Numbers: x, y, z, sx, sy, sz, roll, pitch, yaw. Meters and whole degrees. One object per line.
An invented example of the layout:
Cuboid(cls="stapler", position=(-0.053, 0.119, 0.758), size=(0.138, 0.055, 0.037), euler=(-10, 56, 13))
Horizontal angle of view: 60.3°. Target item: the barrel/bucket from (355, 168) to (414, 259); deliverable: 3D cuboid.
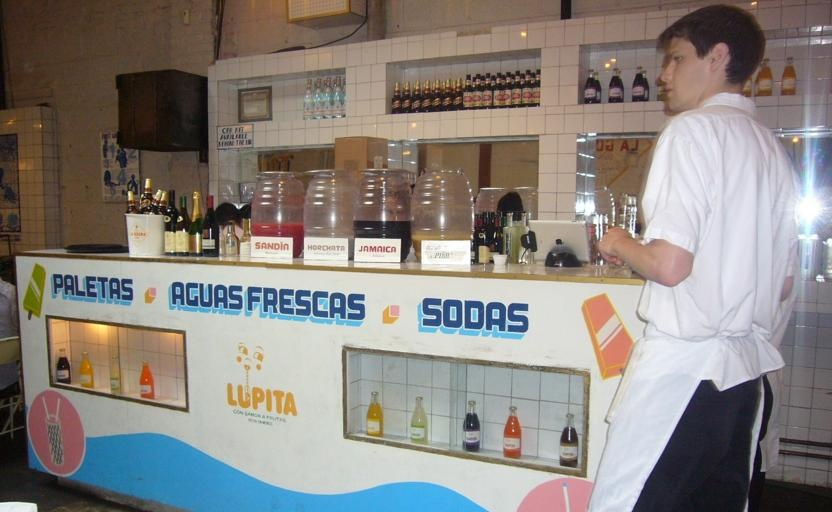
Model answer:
Cuboid(cls="barrel/bucket", position=(-0.230, -0.279, 4.988), size=(0.411, 0.640, 0.349), euler=(-1, 5, -5))

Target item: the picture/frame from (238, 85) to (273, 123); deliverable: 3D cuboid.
Cuboid(cls="picture/frame", position=(-1.812, -1.729, 8.154), size=(0.474, 0.406, 0.047), euler=(3, 5, 24))

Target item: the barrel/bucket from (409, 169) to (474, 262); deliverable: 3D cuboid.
Cuboid(cls="barrel/bucket", position=(0.181, -0.279, 4.918), size=(0.434, 0.660, 0.411), euler=(-1, 5, 0))

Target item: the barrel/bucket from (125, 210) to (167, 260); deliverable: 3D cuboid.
Cuboid(cls="barrel/bucket", position=(-2.075, -0.163, 5.592), size=(0.302, 0.276, 0.333), euler=(2, 5, 12))
